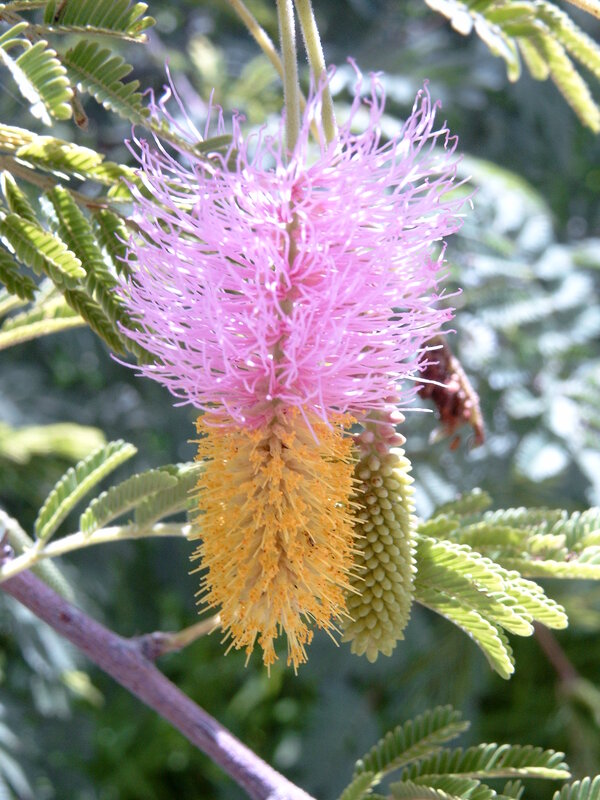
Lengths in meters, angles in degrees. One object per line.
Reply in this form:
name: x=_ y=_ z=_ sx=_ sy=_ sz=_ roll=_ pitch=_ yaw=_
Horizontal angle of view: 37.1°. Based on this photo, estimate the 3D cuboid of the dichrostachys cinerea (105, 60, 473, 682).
dichrostachys cinerea: x=-0.021 y=-0.029 z=1.208 sx=0.468 sy=0.373 sz=0.699 roll=4 pitch=84 yaw=-14
